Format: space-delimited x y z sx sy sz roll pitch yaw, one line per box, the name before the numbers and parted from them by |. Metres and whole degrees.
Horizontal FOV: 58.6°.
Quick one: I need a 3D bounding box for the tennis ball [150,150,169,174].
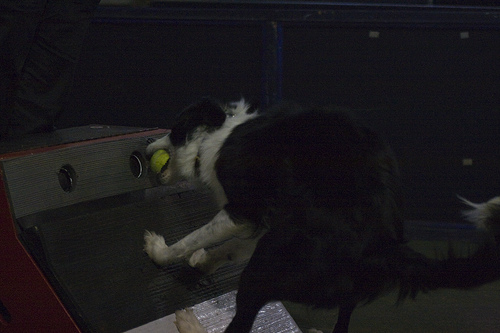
tennis ball | -0.610 -0.029 2.991 0.124 0.132 0.076 8 21 -13
